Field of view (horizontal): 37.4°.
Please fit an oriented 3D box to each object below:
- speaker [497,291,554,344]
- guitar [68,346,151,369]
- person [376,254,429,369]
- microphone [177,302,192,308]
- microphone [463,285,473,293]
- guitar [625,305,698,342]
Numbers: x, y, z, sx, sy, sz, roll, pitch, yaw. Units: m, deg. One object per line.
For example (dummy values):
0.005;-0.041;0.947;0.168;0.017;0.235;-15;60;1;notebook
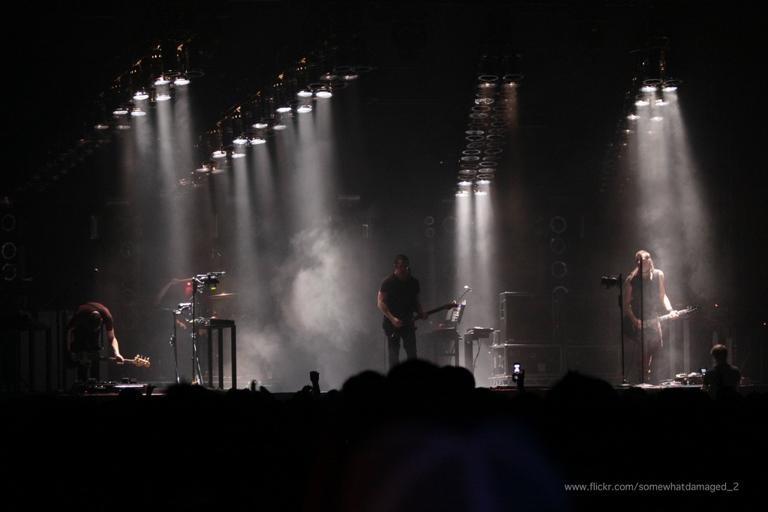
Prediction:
2.758;1.202;22.036;0.989;0.932;0.568;0;12;11;speaker
-4.850;1.822;20.315;0.476;0.157;1.477;-9;-15;39;guitar
0.304;1.034;19.918;0.763;2.094;1.005;-2;12;-1;person
-3.759;0.918;21.462;0.215;0.056;0.195;0;-2;-23;microphone
1.714;0.654;23.205;0.181;0.149;0.225;5;-15;-26;microphone
4.963;1.201;20.427;1.547;0.135;0.531;-14;23;-4;guitar
